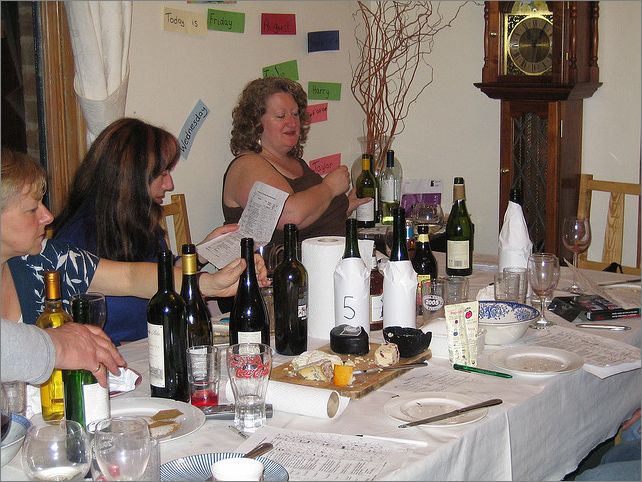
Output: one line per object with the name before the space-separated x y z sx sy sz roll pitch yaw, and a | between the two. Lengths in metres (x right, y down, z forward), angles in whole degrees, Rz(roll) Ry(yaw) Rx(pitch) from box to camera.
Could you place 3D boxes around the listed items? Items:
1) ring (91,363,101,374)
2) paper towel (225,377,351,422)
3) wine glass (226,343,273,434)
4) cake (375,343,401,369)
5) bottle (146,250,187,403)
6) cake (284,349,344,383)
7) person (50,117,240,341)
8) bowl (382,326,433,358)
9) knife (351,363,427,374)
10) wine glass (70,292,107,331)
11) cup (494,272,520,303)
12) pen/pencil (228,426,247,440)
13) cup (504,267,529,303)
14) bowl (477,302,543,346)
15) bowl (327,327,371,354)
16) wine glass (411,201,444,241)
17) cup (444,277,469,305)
ring | -0.431 0.243 1.055 0.004 0.015 0.014 31 -37 -16
paper towel | -0.043 0.320 1.178 0.225 0.078 0.063 2 -4 21
wine glass | -0.149 0.306 1.145 0.088 0.137 0.082 -2 -1 -12
cake | 0.161 0.282 1.358 0.046 0.040 0.052 3 18 13
bottle | -0.350 0.197 1.252 0.087 0.236 0.154 -2 -1 -19
cake | -0.014 0.290 1.306 0.072 0.027 0.077 11 15 24
person | -0.641 -0.173 2.368 0.766 1.239 0.529 -4 12 -17
bowl | 0.228 0.246 1.423 0.077 0.065 0.090 9 2 -37
knife | 0.159 0.312 1.350 0.190 0.011 0.029 -2 6 -14
wine glass | -0.501 0.166 1.231 0.079 0.104 0.082 0 4 -10
cup | 0.584 0.144 1.770 0.081 0.099 0.082 0 11 0
pen/pencil | -0.170 0.391 1.123 0.014 0.010 0.064 -20 27 -25
cup | 0.614 0.139 1.736 0.077 0.144 0.084 -3 11 1
bowl | 0.533 0.225 1.571 0.133 0.058 0.150 4 23 13
bowl | 0.079 0.263 1.453 0.103 0.075 0.123 -1 5 -13
wine glass | 0.493 -0.106 2.554 0.170 0.192 0.184 2 8 11
cup | 0.405 0.141 1.650 0.076 0.086 0.071 -1 8 0
